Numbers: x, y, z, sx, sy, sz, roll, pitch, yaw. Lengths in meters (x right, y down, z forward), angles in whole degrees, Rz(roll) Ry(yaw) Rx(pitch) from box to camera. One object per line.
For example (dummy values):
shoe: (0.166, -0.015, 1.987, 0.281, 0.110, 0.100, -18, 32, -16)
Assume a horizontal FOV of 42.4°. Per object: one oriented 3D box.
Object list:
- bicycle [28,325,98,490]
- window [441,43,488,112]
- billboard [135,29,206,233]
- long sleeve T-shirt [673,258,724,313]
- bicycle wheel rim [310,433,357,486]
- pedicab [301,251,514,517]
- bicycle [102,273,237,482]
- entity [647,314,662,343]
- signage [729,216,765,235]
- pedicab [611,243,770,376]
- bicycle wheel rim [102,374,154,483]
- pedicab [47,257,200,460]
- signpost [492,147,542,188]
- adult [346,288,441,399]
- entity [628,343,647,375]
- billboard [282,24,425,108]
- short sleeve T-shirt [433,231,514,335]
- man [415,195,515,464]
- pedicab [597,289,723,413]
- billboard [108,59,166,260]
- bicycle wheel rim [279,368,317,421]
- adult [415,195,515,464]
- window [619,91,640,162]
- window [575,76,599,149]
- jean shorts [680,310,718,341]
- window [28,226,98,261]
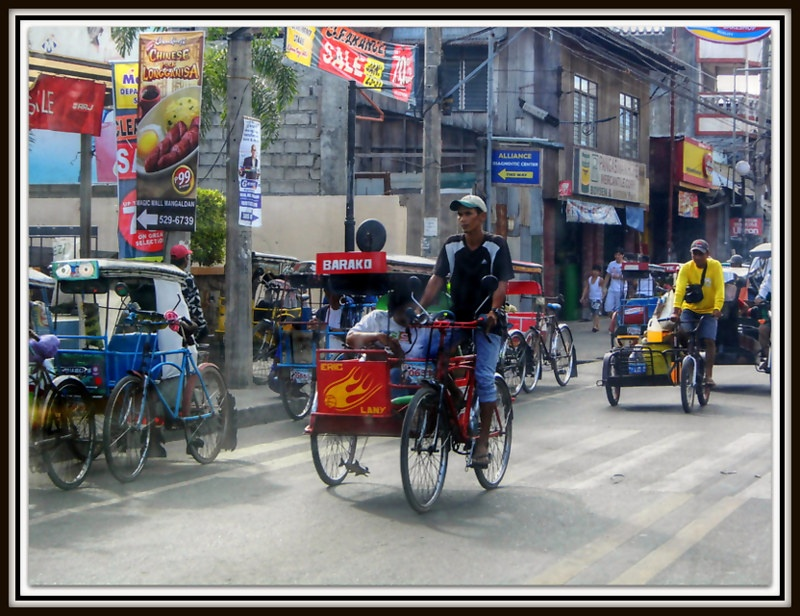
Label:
bicycle: (-2.969, 0.934, 8.985, 0.646, 1.321, 0.451, -4, 4, -43)
window: (1.939, -6.775, 30.549, 1.245, 2.069, 1.219, 0, 3, 5)
billboard: (-3.240, -2.491, 14.521, 0.956, 2.754, 0.544, -1, 3, -12)
long sleeve T-shirt: (3.975, -0.286, 13.711, 0.707, 0.976, 0.496, -2, -6, 39)
bicycle wheel rim: (-0.598, 1.360, 9.306, 0.096, 0.533, 0.525, 0, -17, 32)
pedicab: (0.134, 0.629, 9.226, 1.257, 1.956, 1.965, 2, 0, 36)
bicycle: (-2.200, 0.768, 9.834, 0.678, 1.612, 2.281, 3, 1, 17)
entity: (3.404, 0.293, 13.787, 0.229, 0.489, 0.262, 0, -2, 18)
signage: (15.081, -3.652, 45.170, 1.310, 0.820, 0.936, -1, 1, 24)
pedicab: (5.100, -0.067, 16.393, 1.599, 1.925, 2.914, -2, -4, 28)
bicycle wheel rim: (-2.448, 1.079, 9.238, 0.238, 0.985, 0.756, 0, 3, 15)
pedicab: (-2.904, 0.359, 10.146, 0.989, 1.775, 1.641, 2, 3, 2)
signpost: (2.684, -3.290, 23.901, 1.164, 0.957, 0.170, 1, -5, 20)
adult: (-0.066, 0.394, 9.055, 0.834, 1.372, 0.743, 4, 7, 4)
entity: (3.135, 0.670, 13.705, 0.190, 0.399, 0.131, 0, 4, 10)
billboard: (-0.937, -4.789, 19.713, 2.541, 1.044, 0.481, -2, 4, -27)
short sleeve T-shirt: (0.633, -0.273, 9.208, 0.683, 0.937, 0.325, 2, 29, 4)
man: (0.504, 0.140, 8.975, 0.956, 2.373, 1.037, 1, 1, -16)
pedicab: (3.435, 0.662, 13.847, 1.015, 1.450, 1.741, 0, 4, 19)
billboard: (-4.010, -2.305, 16.138, 0.783, 4.119, 0.071, -1, -26, -14)
bicycle wheel rim: (-1.232, 1.017, 12.474, 0.159, 0.712, 0.700, 7, -3, 34)
adult: (0.491, 0.145, 8.960, 0.992, 2.399, 1.022, 1, 0, -12)
window: (7.732, -6.246, 35.510, 0.147, 2.002, 1.759, 3, 1, 36)
window: (5.915, -6.243, 32.892, 0.201, 2.843, 2.491, -1, -2, 24)
jean shorts: (3.998, 0.200, 13.807, 0.319, 0.355, 0.509, 6, 12, 27)
window: (-8.549, -1.632, 25.759, 1.285, 1.122, 7.193, -2, 3, -21)
